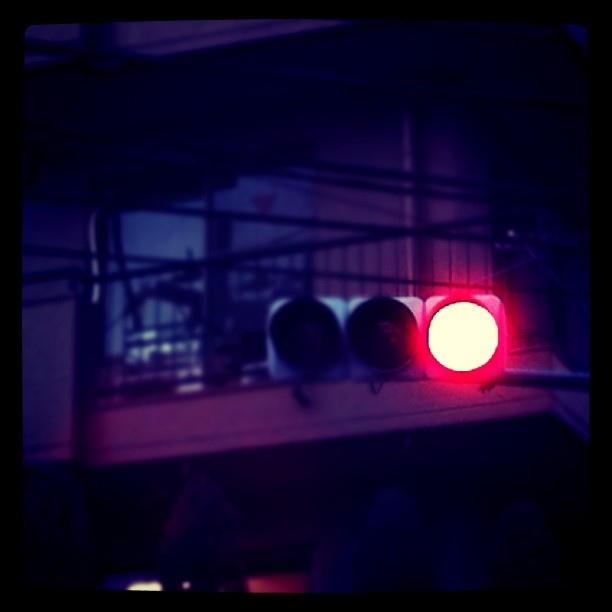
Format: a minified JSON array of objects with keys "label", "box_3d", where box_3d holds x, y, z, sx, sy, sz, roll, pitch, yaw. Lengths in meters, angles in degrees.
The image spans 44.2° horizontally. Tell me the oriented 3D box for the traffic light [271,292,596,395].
[{"label":"traffic light","box_3d":[0.415,0.095,2.469,1.011,0.378,0.324,-1,11,11]}]
